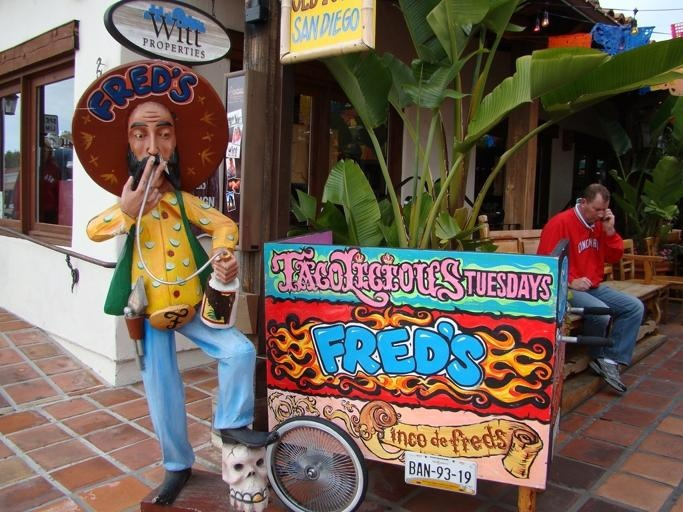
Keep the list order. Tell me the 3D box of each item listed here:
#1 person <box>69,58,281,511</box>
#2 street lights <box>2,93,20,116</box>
[{"bbox_3d":[-0.931,0.151,3.449,1.151,2.467,0.686,5,14,20],"label":"person"},{"bbox_3d":[-4.023,-1.843,7.236,0.036,0.257,0.579,-12,19,-42],"label":"street lights"}]
